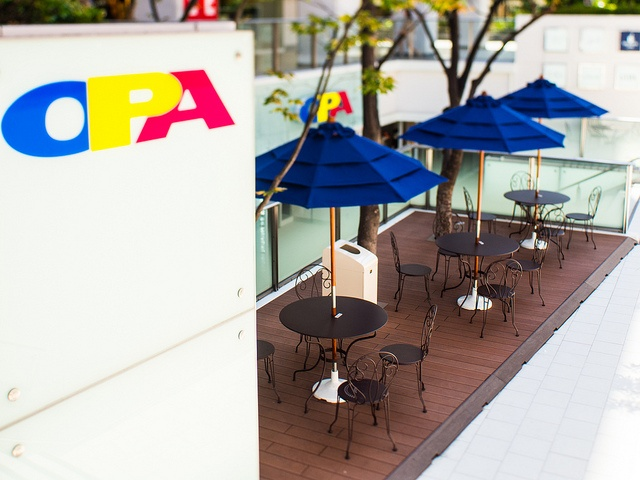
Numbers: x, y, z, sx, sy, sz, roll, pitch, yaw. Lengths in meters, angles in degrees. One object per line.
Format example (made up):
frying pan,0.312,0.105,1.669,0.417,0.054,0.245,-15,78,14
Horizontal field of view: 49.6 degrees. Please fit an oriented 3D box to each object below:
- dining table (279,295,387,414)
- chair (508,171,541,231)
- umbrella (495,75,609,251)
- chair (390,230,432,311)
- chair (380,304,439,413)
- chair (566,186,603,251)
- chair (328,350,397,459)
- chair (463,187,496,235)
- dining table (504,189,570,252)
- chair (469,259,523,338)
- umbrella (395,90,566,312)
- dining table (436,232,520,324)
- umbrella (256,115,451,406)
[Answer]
dining table,0.131,1.141,7.473,1.035,0.912,1.140,0,24,1
chair,3.933,-0.723,13.529,0.516,1.140,0.512,-28,20,-15
umbrella,3.969,-1.448,12.111,1.790,2.069,1.950,21,33,38
chair,1.318,0.449,9.871,0.590,1.133,0.569,-3,9,-3
chair,0.925,1.262,7.415,0.484,1.150,0.507,4,19,9
chair,4.851,-0.427,12.841,0.570,1.173,0.555,5,10,18
chair,0.436,1.757,7.073,0.573,1.232,0.689,-5,23,-14
chair,2.919,-0.452,12.703,0.621,1.110,0.534,-2,18,2
dining table,3.701,-0.397,12.151,1.013,0.870,0.999,-19,27,-36
chair,2.403,0.749,9.369,0.491,1.200,0.636,0,18,4
umbrella,2.191,-0.731,9.995,2.224,3.064,2.277,-9,17,-28
dining table,2.234,0.469,9.858,1.005,0.957,1.096,5,26,18
umbrella,0.106,0.004,7.418,1.947,2.638,2.095,12,20,39
